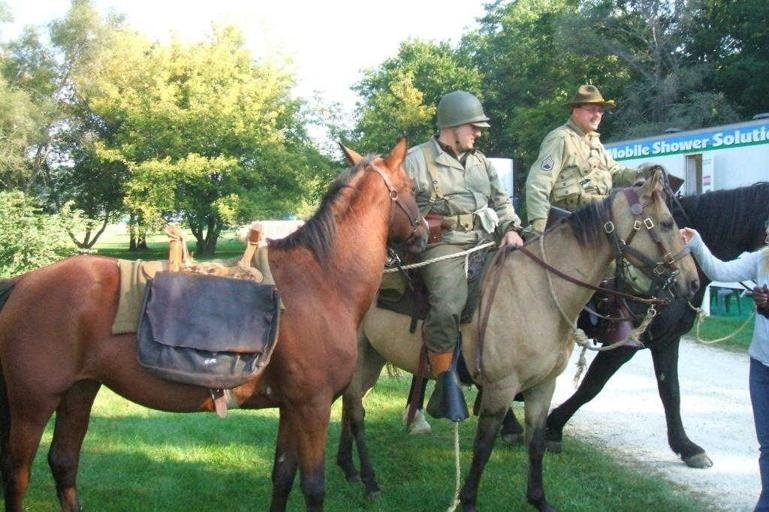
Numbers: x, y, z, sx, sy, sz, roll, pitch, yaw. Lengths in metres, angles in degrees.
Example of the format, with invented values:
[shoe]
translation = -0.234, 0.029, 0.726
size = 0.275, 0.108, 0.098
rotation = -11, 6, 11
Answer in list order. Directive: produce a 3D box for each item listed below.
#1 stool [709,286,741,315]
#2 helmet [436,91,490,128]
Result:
[stool]
translation = 7.271, 0.941, 15.178
size = 0.646, 0.606, 0.649
rotation = -3, 6, -7
[helmet]
translation = 0.936, -1.785, 8.542
size = 0.532, 0.299, 0.426
rotation = 1, 12, 7
